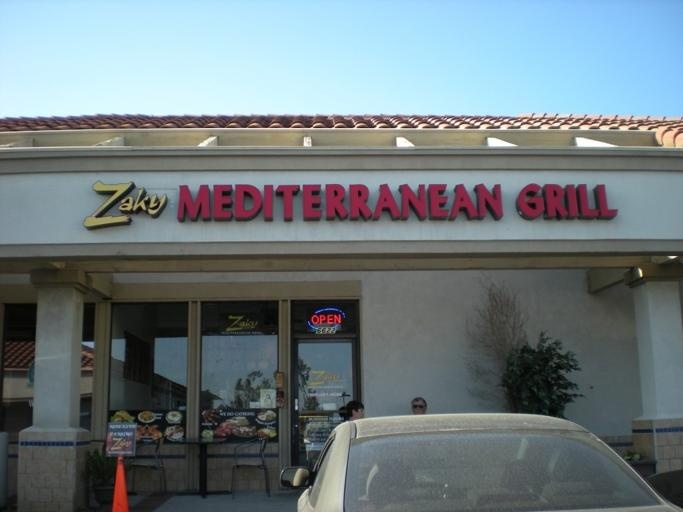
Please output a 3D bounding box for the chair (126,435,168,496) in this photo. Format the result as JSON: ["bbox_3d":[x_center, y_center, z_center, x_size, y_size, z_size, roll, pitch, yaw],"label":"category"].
[{"bbox_3d":[-3.511,3.805,14.935,0.669,0.838,0.504,-1,10,-14],"label":"chair"}]
